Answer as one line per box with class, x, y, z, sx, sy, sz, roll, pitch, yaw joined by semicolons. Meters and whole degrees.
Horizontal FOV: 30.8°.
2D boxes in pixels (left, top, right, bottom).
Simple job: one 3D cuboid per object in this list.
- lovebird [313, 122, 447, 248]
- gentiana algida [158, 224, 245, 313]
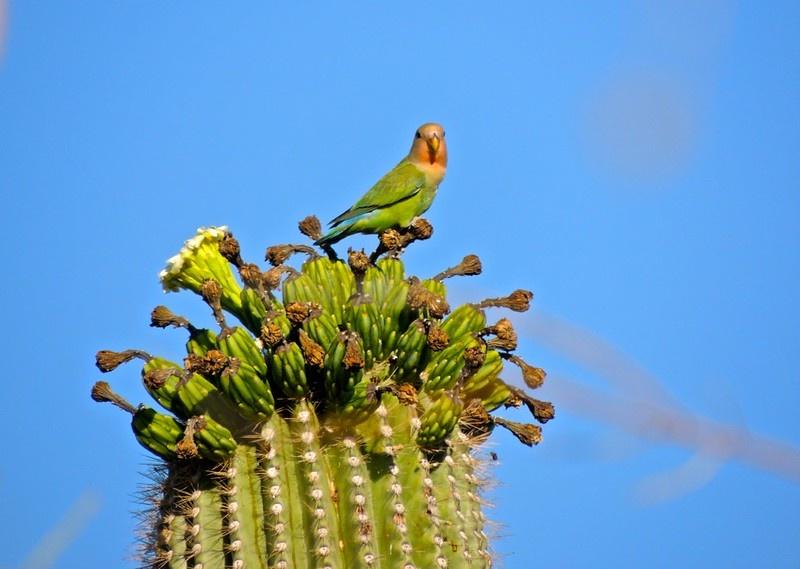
lovebird;-0.188;-0.889;13.477;1.207;0.509;1.060;-7;-99;-1
gentiana algida;-1.366;-0.024;10.879;0.639;0.510;0.548;31;-39;-25
